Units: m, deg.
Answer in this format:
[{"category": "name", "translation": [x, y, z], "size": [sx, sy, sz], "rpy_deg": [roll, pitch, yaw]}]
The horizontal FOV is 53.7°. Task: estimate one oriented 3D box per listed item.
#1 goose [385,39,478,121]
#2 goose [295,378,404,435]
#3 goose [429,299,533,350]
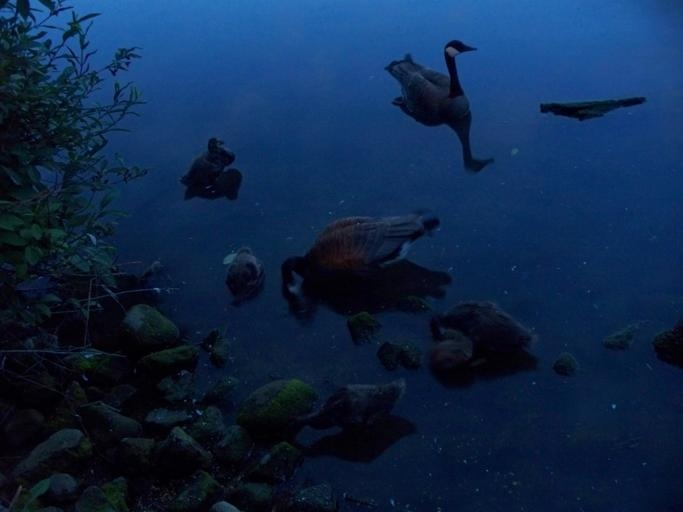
[{"category": "goose", "translation": [0.500, -1.018, 3.992], "size": [0.522, 0.441, 0.278], "rpy_deg": [2, 23, 16]}, {"category": "goose", "translation": [0.016, 0.737, 3.372], "size": [0.544, 0.194, 0.223], "rpy_deg": [-5, -21, -11]}, {"category": "goose", "translation": [0.727, 0.357, 3.411], "size": [0.358, 0.133, 0.266], "rpy_deg": [9, 26, 15]}]
